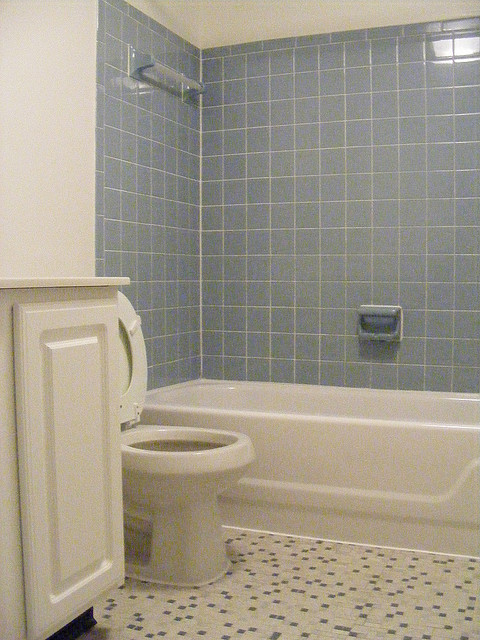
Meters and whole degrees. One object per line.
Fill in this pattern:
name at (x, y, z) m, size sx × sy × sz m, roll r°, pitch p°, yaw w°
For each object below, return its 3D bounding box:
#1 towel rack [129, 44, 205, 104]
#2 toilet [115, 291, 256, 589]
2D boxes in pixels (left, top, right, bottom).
towel rack at (-0.259, -0.945, 2.161) m, size 0.113 × 0.130 × 0.427 m, roll 2°, pitch 8°, yaw 30°
toilet at (-0.212, 0.337, 1.620) m, size 0.323 × 0.821 × 0.308 m, roll -1°, pitch 3°, yaw 18°
